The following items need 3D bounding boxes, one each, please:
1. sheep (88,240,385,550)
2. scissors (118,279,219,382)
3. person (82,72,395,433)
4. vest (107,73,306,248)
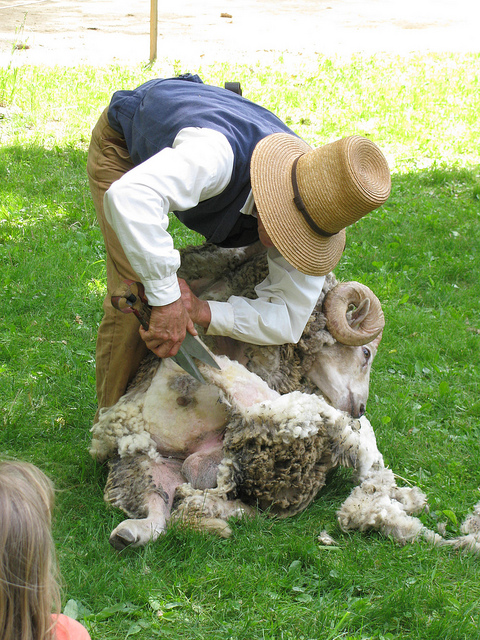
[{"bbox_3d":[-0.047,0.311,3.606,1.359,0.646,1.482,13,42,29],"label":"sheep"},{"bbox_3d":[-0.304,0.040,3.171,0.520,0.188,0.073,47,26,15],"label":"scissors"},{"bbox_3d":[-0.099,-0.231,3.510,1.146,1.683,1.065,6,16,-14],"label":"person"},{"bbox_3d":[-0.198,-0.675,3.467,0.650,0.713,0.710,3,16,-20],"label":"vest"}]
